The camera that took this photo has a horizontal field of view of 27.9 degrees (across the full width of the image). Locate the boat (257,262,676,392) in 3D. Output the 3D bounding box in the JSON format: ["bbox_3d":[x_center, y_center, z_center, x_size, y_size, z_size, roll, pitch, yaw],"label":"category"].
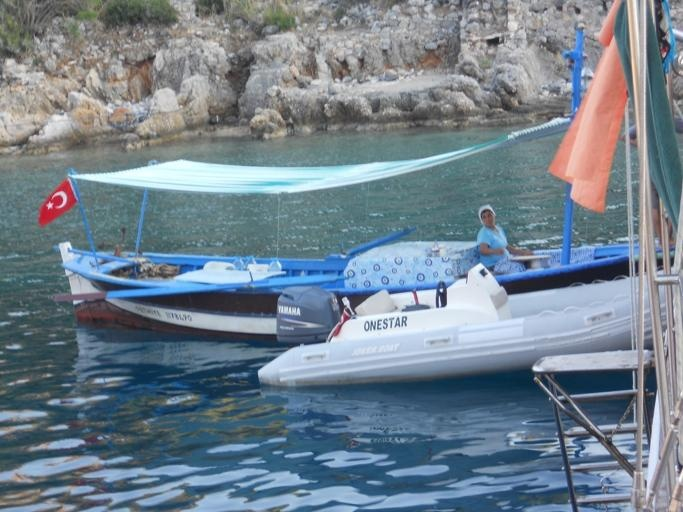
[{"bbox_3d":[2.804,2.040,34.774,8.965,2.067,3.855,-7,1,9],"label":"boat"}]
